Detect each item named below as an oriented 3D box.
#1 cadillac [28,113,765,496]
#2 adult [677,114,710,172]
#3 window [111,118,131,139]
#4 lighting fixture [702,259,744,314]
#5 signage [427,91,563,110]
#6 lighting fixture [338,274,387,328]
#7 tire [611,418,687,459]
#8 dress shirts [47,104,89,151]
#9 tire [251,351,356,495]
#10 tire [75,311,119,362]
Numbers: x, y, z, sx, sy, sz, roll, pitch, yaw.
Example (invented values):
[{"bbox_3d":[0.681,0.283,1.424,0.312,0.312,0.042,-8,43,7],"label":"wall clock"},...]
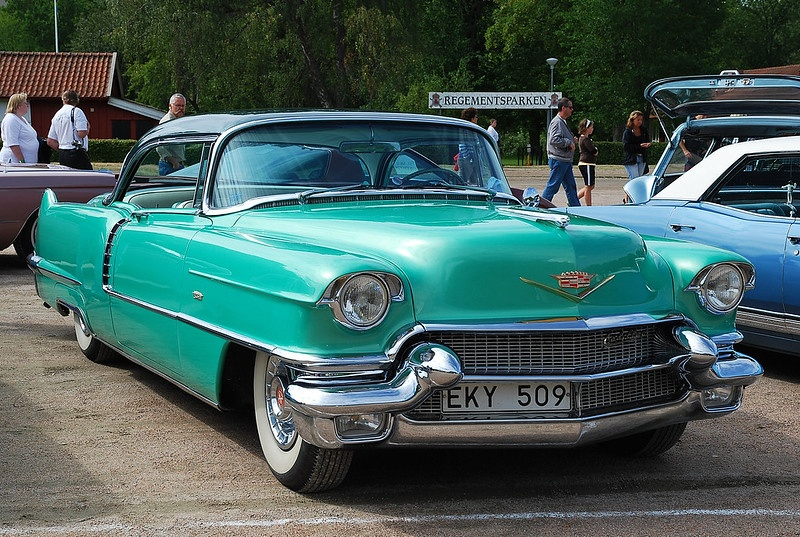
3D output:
[{"bbox_3d":[-0.636,0.028,5.830,2.580,1.231,4.020,-2,7,-30],"label":"cadillac"},{"bbox_3d":[3.069,-1.230,8.648,0.271,0.773,0.200,-19,27,7],"label":"adult"},{"bbox_3d":[-13.215,-6.612,39.465,1.283,1.021,0.273,1,1,-16],"label":"window"},{"bbox_3d":[1.984,0.102,5.191,0.280,0.261,0.269,-2,5,0],"label":"lighting fixture"},{"bbox_3d":[4.234,-6.919,34.605,4.711,0.682,6.473,3,12,12],"label":"signage"},{"bbox_3d":[-0.191,0.169,4.470,0.309,0.262,0.068,6,-4,-17],"label":"lighting fixture"},{"bbox_3d":[1.587,1.102,5.349,0.381,0.326,0.299,-2,7,-5],"label":"tire"},{"bbox_3d":[-5.131,-2.159,13.048,0.776,0.690,0.432,-7,-2,29],"label":"dress shirts"},{"bbox_3d":[-0.520,0.850,4.653,0.287,0.690,0.716,-5,23,-35],"label":"tire"},{"bbox_3d":[-2.433,0.542,6.740,0.186,0.442,0.474,-1,-6,-32],"label":"tire"}]
